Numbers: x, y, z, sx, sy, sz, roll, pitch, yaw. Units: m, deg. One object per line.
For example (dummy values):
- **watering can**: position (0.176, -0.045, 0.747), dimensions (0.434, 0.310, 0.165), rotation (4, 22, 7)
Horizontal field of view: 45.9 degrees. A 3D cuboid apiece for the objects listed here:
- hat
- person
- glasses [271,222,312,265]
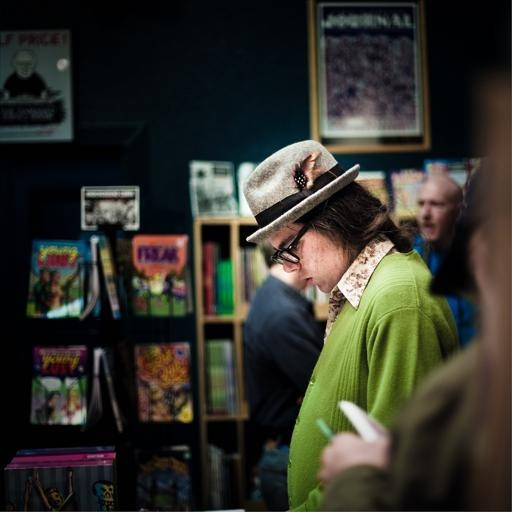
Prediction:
- **hat**: position (0.111, -0.192, 1.688), dimensions (0.287, 0.129, 0.248), rotation (-38, 1, -1)
- **person**: position (0.304, 0.155, 2.230), dimensions (0.733, 1.635, 0.932), rotation (-2, -3, 6)
- **glasses**: position (0.104, -0.033, 1.700), dimensions (0.028, 0.109, 0.101), rotation (26, -21, -4)
